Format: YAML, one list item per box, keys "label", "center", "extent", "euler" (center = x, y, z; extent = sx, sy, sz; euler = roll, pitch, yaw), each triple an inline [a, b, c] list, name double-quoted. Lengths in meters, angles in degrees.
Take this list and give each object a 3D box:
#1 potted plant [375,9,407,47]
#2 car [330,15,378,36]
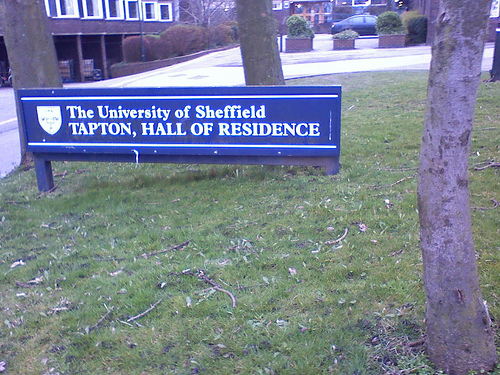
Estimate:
- label: "potted plant"
  center: [9.204, -10.207, 32.789]
  extent: [2.181, 2.641, 2.247]
  euler: [9, 39, 16]
- label: "car"
  center: [9.069, -13.695, 43.116]
  extent: [4.229, 1.474, 1.966]
  euler: [-2, 24, 7]
